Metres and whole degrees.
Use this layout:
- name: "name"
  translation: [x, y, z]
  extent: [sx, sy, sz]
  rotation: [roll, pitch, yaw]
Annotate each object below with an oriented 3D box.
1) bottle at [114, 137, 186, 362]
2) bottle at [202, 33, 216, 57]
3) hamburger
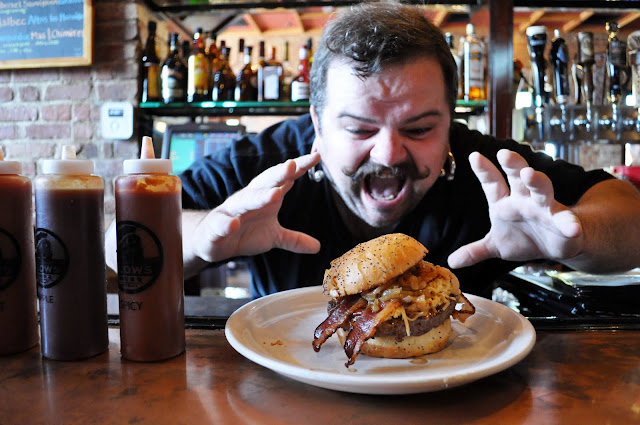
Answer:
- name: "bottle"
  translation: [-0.530, 0.109, 1.879]
  extent: [0.204, 0.686, 0.132]
  rotation: [-1, 4, -18]
- name: "bottle"
  translation: [-0.754, -1.140, 4.095]
  extent: [0.111, 0.144, 0.061]
  rotation: [11, 28, 10]
- name: "hamburger"
  translation: [0.242, 0.288, 2.019]
  extent: [0.442, 0.249, 0.431]
  rotation: [-9, 9, -36]
